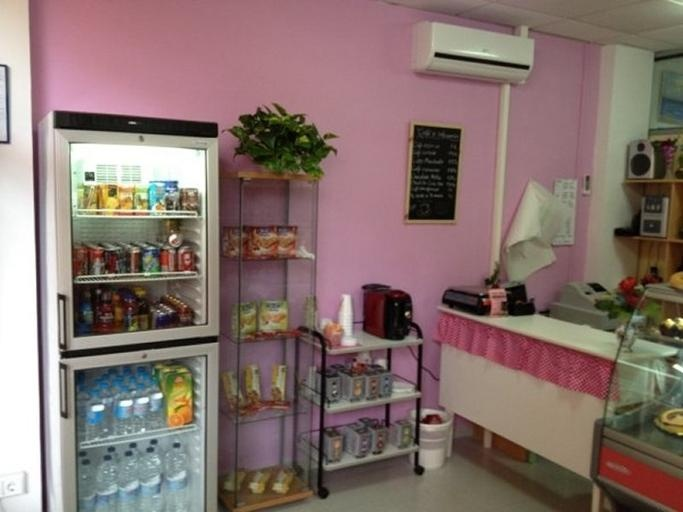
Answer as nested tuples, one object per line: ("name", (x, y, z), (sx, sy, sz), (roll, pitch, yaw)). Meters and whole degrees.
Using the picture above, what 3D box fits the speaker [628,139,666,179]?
("speaker", (2.750, -0.848, 4.840), (0.323, 0.342, 0.245), (5, 7, 20))

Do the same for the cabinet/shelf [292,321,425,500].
("cabinet/shelf", (0.093, 1.132, 3.866), (0.978, 1.280, 0.639), (-4, 12, -24))

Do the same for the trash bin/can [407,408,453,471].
("trash bin/can", (0.676, 1.407, 4.247), (0.363, 0.410, 0.398), (-1, 4, -1))

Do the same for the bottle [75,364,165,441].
("bottle", (-1.250, 0.830, 3.093), (0.369, 0.311, 0.388), (-2, 9, -13))

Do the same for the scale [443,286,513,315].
("scale", (1.015, 0.338, 4.099), (0.264, 0.122, 0.266), (2, 4, -34))

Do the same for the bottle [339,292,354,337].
("bottle", (0.035, 0.425, 3.912), (0.114, 0.275, 0.221), (2, 7, 1))

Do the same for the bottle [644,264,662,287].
("bottle", (2.546, 0.168, 4.396), (0.139, 0.140, 0.088), (-13, 20, -31))

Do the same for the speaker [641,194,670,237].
("speaker", (2.793, -0.343, 4.814), (0.223, 0.372, 0.110), (7, 8, 35))

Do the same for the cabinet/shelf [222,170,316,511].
("cabinet/shelf", (-0.452, 0.561, 3.598), (0.704, 2.183, 0.484), (0, 6, -15))

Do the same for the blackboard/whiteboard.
("blackboard/whiteboard", (0.721, -0.640, 4.255), (0.483, 0.756, 0.028), (-1, 7, -24))

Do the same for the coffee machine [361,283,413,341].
("coffee machine", (0.318, 0.418, 3.941), (0.255, 0.403, 0.440), (-5, 8, -41))
